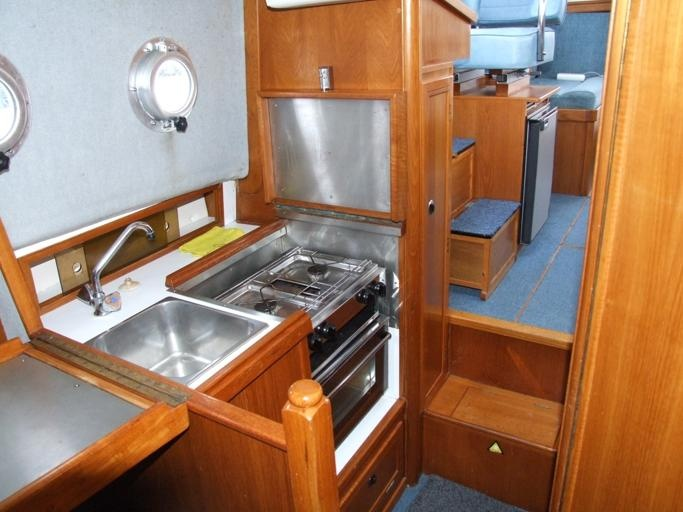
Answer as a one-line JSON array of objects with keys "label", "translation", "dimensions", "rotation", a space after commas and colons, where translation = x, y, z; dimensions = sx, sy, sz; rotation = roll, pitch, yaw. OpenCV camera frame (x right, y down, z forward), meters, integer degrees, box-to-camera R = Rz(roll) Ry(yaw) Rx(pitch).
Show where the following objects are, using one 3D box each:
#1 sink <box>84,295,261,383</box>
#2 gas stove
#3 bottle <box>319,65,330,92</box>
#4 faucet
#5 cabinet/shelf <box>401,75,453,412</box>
[{"label": "sink", "translation": [-0.572, 0.253, 1.800], "dimensions": [0.398, 0.178, 0.330], "rotation": [16, 27, 34]}, {"label": "gas stove", "translation": [-0.153, 0.285, 2.099], "dimensions": [0.534, 0.357, 0.649], "rotation": [-3, 19, 27]}, {"label": "bottle", "translation": [-0.064, -0.703, 2.030], "dimensions": [0.058, 0.101, 0.063], "rotation": [-2, 29, 1]}, {"label": "faucet", "translation": [-0.862, -0.002, 1.913], "dimensions": [0.280, 0.307, 0.347], "rotation": [-17, 29, -28]}, {"label": "cabinet/shelf", "translation": [0.406, -0.021, 2.313], "dimensions": [0.145, 1.452, 0.569], "rotation": [7, 27, 20]}]
